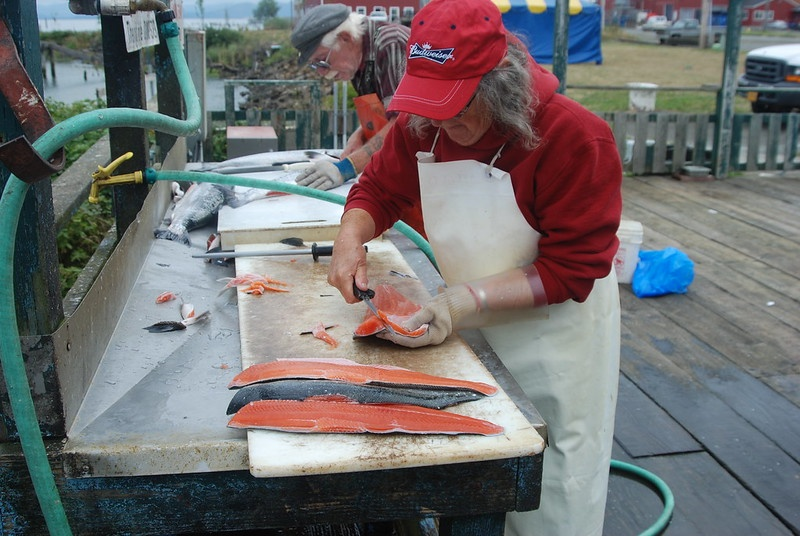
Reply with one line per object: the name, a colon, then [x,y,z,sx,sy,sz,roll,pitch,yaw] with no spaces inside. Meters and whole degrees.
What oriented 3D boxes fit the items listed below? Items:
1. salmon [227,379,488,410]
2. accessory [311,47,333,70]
salmon: [-0.125,0.457,2.634,0.995,0.111,0.229,3,-12,-29]
accessory: [-0.463,-1.287,4.609,0.099,0.110,0.031,8,13,37]
